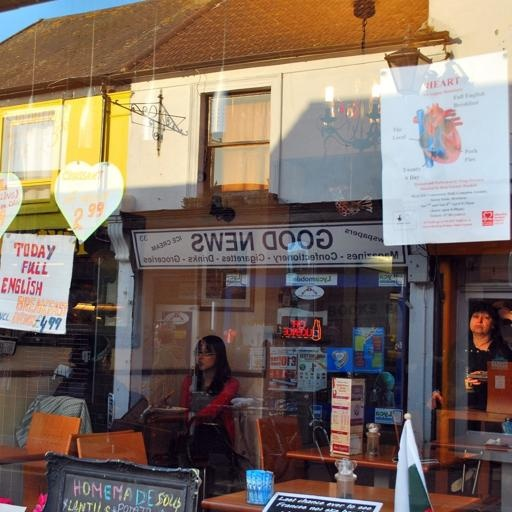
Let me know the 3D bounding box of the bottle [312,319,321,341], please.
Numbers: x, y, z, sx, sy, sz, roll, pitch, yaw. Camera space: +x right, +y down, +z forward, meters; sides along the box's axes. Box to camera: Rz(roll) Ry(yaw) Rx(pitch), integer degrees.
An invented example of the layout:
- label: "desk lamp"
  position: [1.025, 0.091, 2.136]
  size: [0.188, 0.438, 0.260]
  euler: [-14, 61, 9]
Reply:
- label: "bottle"
  position: [0.340, 0.412, 3.759]
  size: [0.059, 0.122, 0.014]
  euler: [-2, -4, 24]
